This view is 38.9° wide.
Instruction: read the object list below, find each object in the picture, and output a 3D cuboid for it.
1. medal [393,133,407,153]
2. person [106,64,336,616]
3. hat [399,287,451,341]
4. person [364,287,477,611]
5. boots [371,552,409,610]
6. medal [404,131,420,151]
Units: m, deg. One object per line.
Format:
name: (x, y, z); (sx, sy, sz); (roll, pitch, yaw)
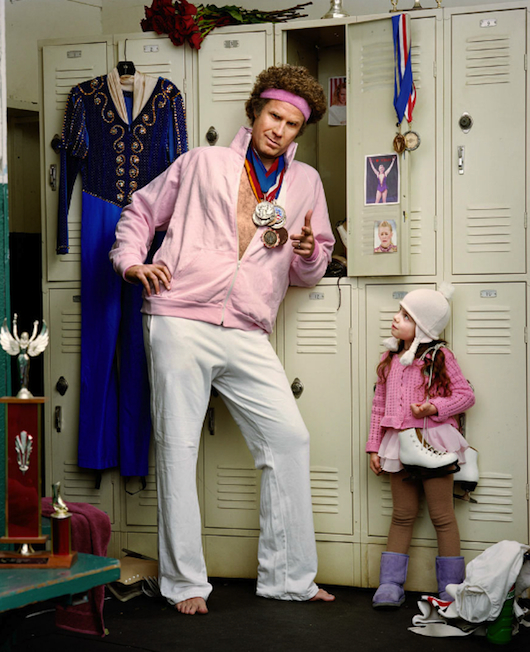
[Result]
medal: (0.493, -0.678, 2.783); (0.049, 0.072, 0.037); (0, 2, 14)
person: (-0.141, 0.013, 2.633); (0.616, 1.943, 0.512); (2, -3, 3)
hat: (0.566, -0.040, 2.713); (0.154, 0.162, 0.155); (3, 22, -1)
person: (0.542, 0.375, 2.668); (0.322, 1.160, 0.401); (0, -2, 11)
boots: (0.434, 0.898, 2.622); (0.099, 0.183, 0.121); (2, 4, 3)
medal: (0.546, -0.692, 2.802); (0.061, 0.078, 0.016); (2, -1, -11)
